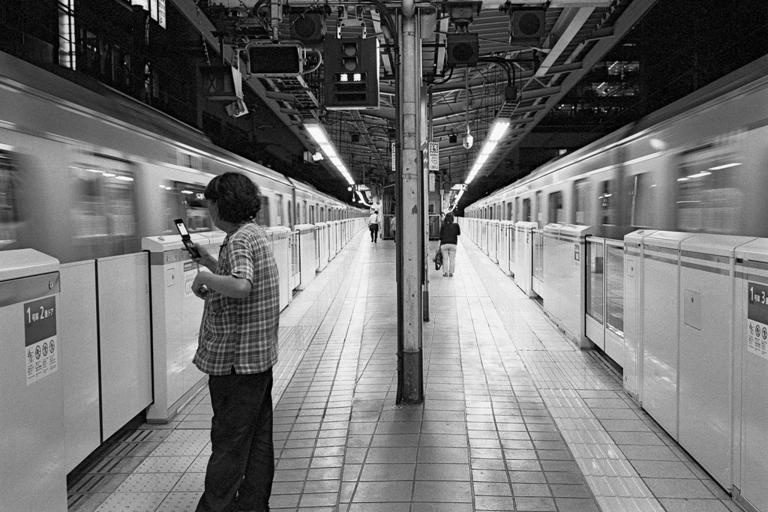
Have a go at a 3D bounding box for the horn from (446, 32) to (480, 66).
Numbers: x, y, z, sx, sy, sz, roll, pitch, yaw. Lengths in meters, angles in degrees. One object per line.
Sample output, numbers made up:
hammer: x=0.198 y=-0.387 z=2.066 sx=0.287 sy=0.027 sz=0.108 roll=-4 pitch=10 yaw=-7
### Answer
horn: x=0.983 y=-2.531 z=6.182 sx=0.371 sy=0.391 sz=0.373 roll=4 pitch=-56 yaw=16

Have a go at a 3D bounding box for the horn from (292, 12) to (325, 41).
horn: x=-0.847 y=-2.555 z=5.678 sx=0.342 sy=0.169 sz=0.318 roll=7 pitch=-71 yaw=-4

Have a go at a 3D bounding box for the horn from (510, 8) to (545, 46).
horn: x=1.632 y=-2.606 z=5.914 sx=0.372 sy=0.375 sz=0.397 roll=-2 pitch=-82 yaw=1
